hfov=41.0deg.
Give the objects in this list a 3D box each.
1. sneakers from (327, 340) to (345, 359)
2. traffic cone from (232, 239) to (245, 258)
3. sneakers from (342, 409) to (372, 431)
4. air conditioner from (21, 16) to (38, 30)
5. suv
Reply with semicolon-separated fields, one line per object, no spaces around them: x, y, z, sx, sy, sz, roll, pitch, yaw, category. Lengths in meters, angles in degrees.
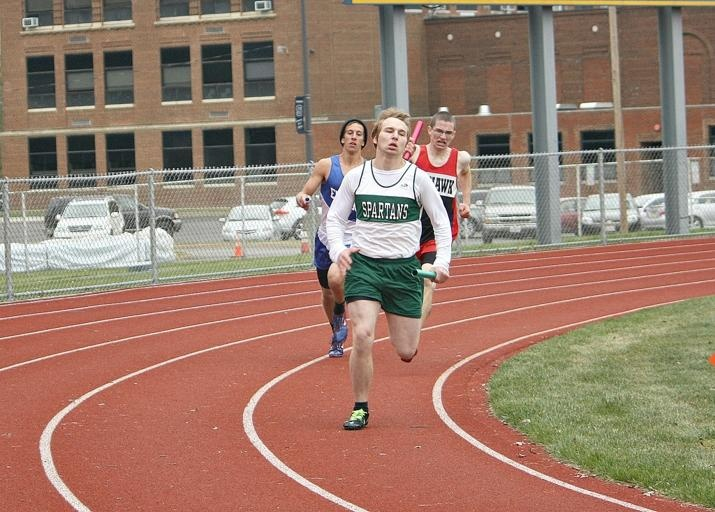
-0.284;1.299;13.109;0.237;0.291;0.663;0;-1;5;sneakers
-2.655;-0.150;21.399;0.283;0.399;0.287;-2;0;-6;traffic cone
0.011;1.788;10.406;0.138;0.162;0.355;0;-4;16;sneakers
-17.477;-12.443;51.197;1.092;0.814;0.603;1;-2;5;air conditioner
-5.447;-0.868;20.827;2.352;0.901;1.248;-3;2;36;suv
